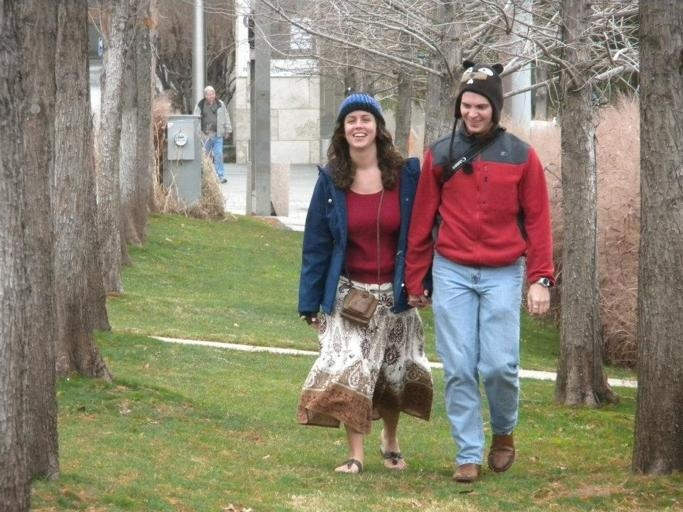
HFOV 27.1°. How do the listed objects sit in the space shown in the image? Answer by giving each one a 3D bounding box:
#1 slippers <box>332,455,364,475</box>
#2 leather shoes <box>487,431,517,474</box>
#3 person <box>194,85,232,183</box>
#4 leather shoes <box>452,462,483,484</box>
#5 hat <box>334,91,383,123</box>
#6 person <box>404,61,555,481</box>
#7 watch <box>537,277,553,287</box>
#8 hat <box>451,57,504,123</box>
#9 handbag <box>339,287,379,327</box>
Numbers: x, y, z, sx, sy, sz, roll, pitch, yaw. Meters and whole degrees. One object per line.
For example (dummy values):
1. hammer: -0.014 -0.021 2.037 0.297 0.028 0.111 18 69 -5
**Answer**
1. slippers: 0.077 1.721 11.636 0.209 0.084 0.116 0 -2 42
2. leather shoes: 1.330 1.569 11.738 0.209 0.185 0.519 4 24 8
3. person: -2.370 -2.278 25.995 0.543 1.666 0.824 12 11 42
4. leather shoes: 1.029 1.744 11.450 0.242 0.156 0.184 3 9 -8
5. hat: 0.166 -1.260 11.897 0.278 0.175 0.282 0 1 8
6. person: 1.119 0.130 11.513 1.103 3.319 0.627 11 10 37
7. watch: 1.639 0.208 11.363 0.077 0.055 0.092 -1 -3 -13
8. hat: 1.158 -1.361 11.646 0.367 0.517 0.354 10 7 22
9. handbag: 0.145 0.420 11.561 0.264 0.282 0.151 7 9 18
